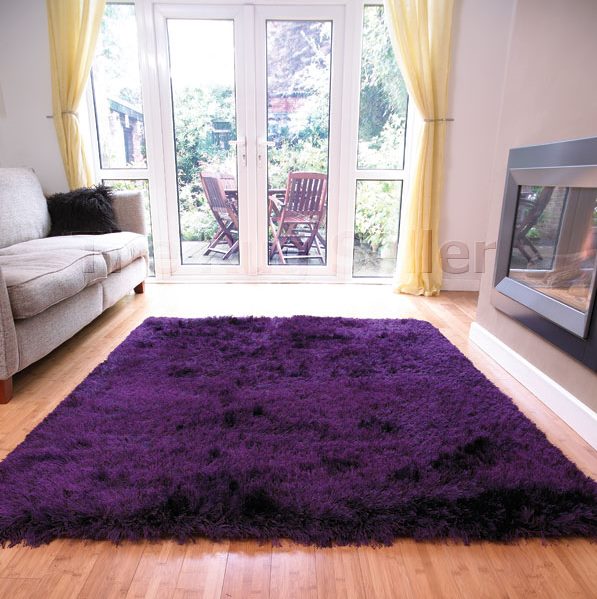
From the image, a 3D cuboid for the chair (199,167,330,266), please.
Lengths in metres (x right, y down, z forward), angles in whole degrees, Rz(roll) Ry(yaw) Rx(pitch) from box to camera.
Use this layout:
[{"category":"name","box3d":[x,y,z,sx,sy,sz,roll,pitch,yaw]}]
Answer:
[{"category":"chair","box3d":[-0.221,-0.858,3.944,0.997,0.728,0.537,0,25,-1]}]
